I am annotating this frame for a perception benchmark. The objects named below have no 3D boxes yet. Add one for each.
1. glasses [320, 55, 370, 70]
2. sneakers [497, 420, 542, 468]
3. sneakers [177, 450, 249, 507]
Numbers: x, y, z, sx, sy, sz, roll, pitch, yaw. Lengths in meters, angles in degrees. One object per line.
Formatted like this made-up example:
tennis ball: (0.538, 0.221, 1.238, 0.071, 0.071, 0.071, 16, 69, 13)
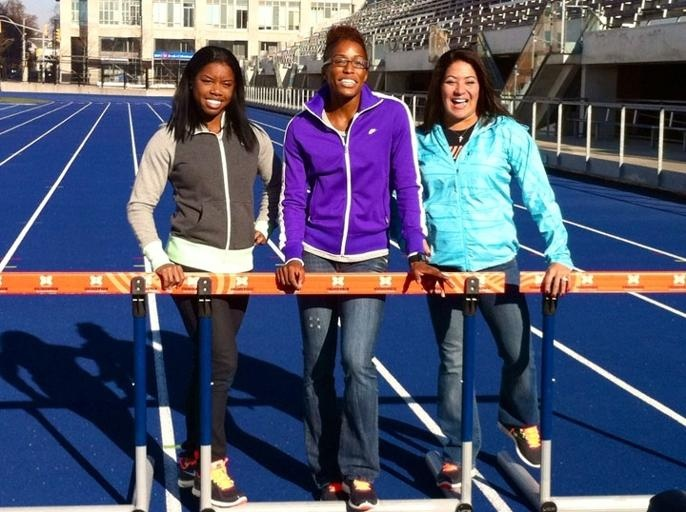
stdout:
glasses: (0.011, -0.954, 3.446, 0.219, 0.057, 0.118, 0, 15, -2)
sneakers: (1.012, 1.082, 3.977, 0.117, 0.379, 0.152, -23, -15, -11)
sneakers: (-0.711, 1.161, 3.735, 0.183, 0.294, 0.566, 1, 0, -37)
